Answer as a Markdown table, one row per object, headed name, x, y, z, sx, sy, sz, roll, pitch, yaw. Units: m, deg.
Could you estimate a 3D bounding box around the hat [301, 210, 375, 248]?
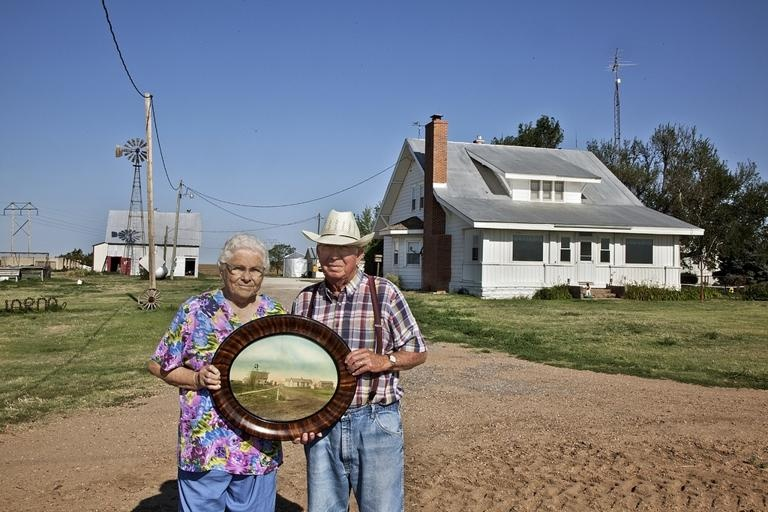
| name | x | y | z | sx | sy | sz | roll | pitch | yaw |
| --- | --- | --- | --- | --- | --- | --- | --- | --- | --- |
| hat | -0.402 | -0.221 | 5.158 | 0.535 | 0.313 | 0.698 | 3 | -7 | 3 |
